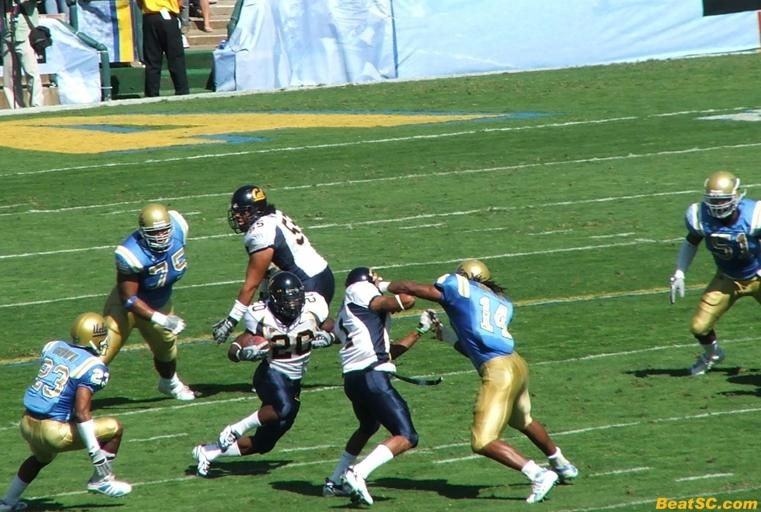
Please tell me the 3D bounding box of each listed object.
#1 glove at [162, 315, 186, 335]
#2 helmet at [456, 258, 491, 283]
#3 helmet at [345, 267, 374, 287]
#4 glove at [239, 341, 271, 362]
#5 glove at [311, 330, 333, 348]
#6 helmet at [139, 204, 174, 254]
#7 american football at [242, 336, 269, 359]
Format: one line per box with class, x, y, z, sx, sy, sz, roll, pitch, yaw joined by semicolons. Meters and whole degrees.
glove;-2.565;0.891;18.186;0.233;0.265;0.243;-3;9;-5
helmet;1.136;0.180;17.200;0.365;0.253;0.277;31;12;16
helmet;-0.278;0.279;17.110;0.300;0.223;0.241;-25;-13;20
glove;-1.509;1.120;17.266;0.406;0.220;0.260;-9;7;15
glove;-0.710;1.016;17.398;0.207;0.119;0.255;5;-12;-36
helmet;-2.789;-0.333;18.189;0.406;0.578;0.243;-4;10;-8
american football;-1.455;1.102;17.225;0.299;0.261;0.253;0;10;16
